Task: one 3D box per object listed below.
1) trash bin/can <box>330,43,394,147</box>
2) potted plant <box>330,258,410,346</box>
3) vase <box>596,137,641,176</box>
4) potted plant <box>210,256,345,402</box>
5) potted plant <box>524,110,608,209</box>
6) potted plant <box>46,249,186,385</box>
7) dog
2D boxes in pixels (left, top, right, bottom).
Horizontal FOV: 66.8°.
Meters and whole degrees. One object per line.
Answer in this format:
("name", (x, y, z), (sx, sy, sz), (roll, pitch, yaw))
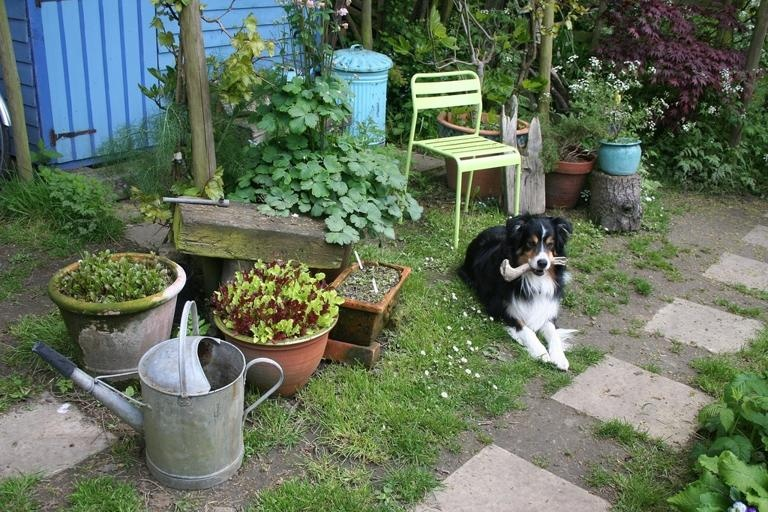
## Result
("trash bin/can", (-0.248, -1.918, 7.096), (0.676, 1.089, 0.629), (-21, 34, -37))
("potted plant", (-0.116, 0.319, 4.362), (0.496, 0.345, 0.850), (12, 21, 21))
("vase", (2.455, -1.041, 6.210), (0.385, 0.313, 0.379), (-14, 20, -40))
("potted plant", (-0.673, 0.358, 3.938), (0.788, 0.842, 0.829), (-1, 13, -8))
("potted plant", (1.870, -1.119, 6.754), (0.936, 1.169, 0.973), (-2, 16, -22))
("potted plant", (-1.644, 0.271, 3.768), (0.783, 0.627, 0.787), (-13, 34, -36))
("dog", (1.111, 0.064, 4.773), (0.660, 0.927, 1.634), (2, 25, -19))
